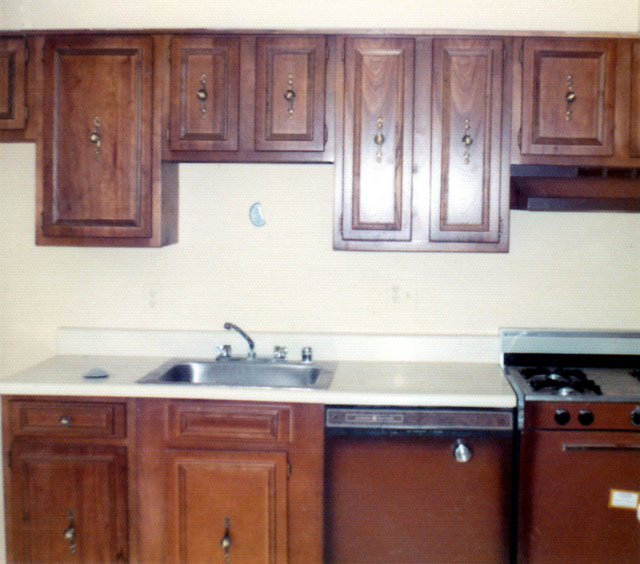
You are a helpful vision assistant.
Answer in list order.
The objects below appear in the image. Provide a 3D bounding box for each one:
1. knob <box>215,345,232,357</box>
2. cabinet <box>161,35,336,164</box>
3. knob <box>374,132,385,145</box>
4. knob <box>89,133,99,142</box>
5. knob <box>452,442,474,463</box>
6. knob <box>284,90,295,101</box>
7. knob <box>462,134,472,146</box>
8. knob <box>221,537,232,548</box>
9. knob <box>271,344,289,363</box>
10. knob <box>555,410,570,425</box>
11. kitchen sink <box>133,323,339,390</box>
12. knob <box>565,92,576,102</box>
[{"bbox_3d":[-0.482,0.337,3.793,0.054,0.044,0.054,-3,6,-38],"label":"knob"},{"bbox_3d":[-0.321,-0.830,3.512,0.868,0.719,0.518,0,0,2],"label":"cabinet"},{"bbox_3d":[0.270,-0.647,3.497,0.046,0.040,0.036,-2,-39,-12],"label":"knob"},{"bbox_3d":[-1.041,-0.657,3.534,0.034,0.039,0.010,1,0,-1],"label":"knob"},{"bbox_3d":[0.612,0.730,3.328,0.079,0.084,0.079,0,2,41],"label":"knob"},{"bbox_3d":[-0.138,-0.847,3.497,0.042,0.036,0.030,-2,-38,-11],"label":"knob"},{"bbox_3d":[0.664,-0.637,3.480,0.042,0.095,0.040,-2,3,-20],"label":"knob"},{"bbox_3d":[-0.411,1.148,3.378,0.046,0.035,0.040,21,-48,-34],"label":"knob"},{"bbox_3d":[-0.192,0.353,3.798,0.069,0.112,0.075,3,11,8],"label":"knob"},{"bbox_3d":[1.032,0.579,3.287,0.065,0.050,0.041,-15,-38,4],"label":"knob"},{"bbox_3d":[-0.363,0.400,3.637,0.906,0.466,0.589,1,7,6],"label":"kitchen sink"},{"bbox_3d":[1.126,-0.833,3.464,0.034,0.038,0.020,19,9,3],"label":"knob"}]
